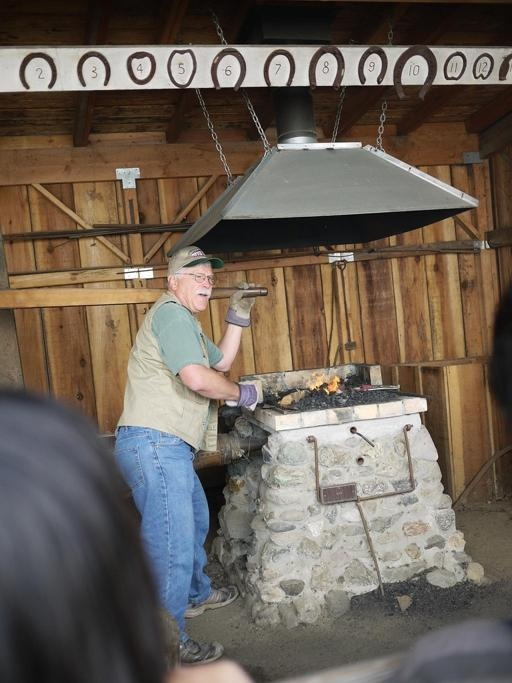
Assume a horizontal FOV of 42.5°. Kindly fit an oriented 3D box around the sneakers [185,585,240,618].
[{"bbox_3d":[-0.213,1.328,3.369,0.289,0.104,0.094,-21,19,-27],"label":"sneakers"}]

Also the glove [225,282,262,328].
[{"bbox_3d":[-0.076,-0.187,3.384,0.201,0.214,0.063,15,-1,1],"label":"glove"}]

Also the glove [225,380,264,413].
[{"bbox_3d":[-0.049,0.251,3.062,0.116,0.082,0.260,-5,-7,3],"label":"glove"}]

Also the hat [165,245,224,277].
[{"bbox_3d":[-0.307,-0.372,2.969,0.251,0.108,0.162,-19,-11,25],"label":"hat"}]
